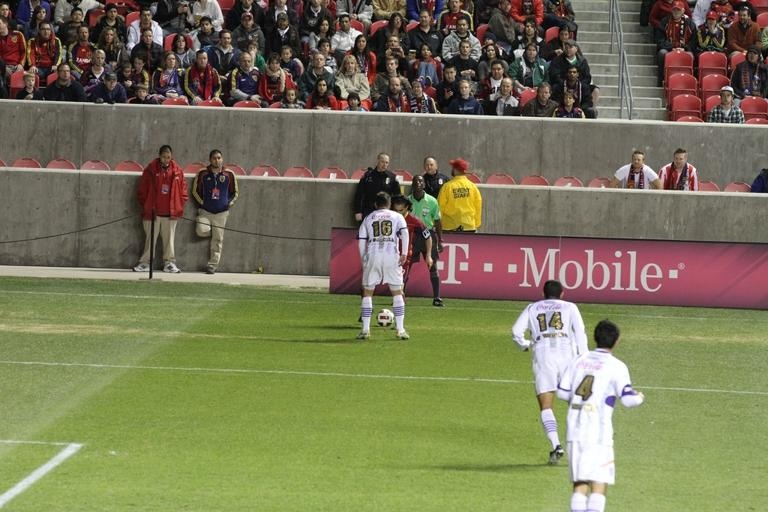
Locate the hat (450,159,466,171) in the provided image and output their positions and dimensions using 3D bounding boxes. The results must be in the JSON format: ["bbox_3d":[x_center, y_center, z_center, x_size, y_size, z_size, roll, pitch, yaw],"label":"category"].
[{"bbox_3d":[1.683,-2.012,39.444,0.321,0.288,0.585,0,3,5],"label":"hat"}]

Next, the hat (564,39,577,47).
[{"bbox_3d":[4.615,-5.300,43.740,0.287,0.135,0.406,0,-4,14],"label":"hat"}]

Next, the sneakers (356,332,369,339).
[{"bbox_3d":[-0.449,1.651,35.405,0.220,0.145,0.110,4,9,29],"label":"sneakers"}]

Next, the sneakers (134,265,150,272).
[{"bbox_3d":[-5.707,0.325,41.064,0.341,0.168,0.161,2,0,3],"label":"sneakers"}]

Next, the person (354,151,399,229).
[{"bbox_3d":[-0.179,-1.539,40.401,0.761,1.873,0.900,2,-8,-7],"label":"person"}]

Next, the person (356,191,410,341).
[{"bbox_3d":[-0.037,0.252,35.205,1.003,2.995,0.663,0,3,-1],"label":"person"}]

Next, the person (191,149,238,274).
[{"bbox_3d":[-4.022,-1.006,41.162,1.016,2.887,0.749,3,4,-6],"label":"person"}]

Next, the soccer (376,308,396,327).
[{"bbox_3d":[0.003,1.279,35.305,0.341,0.369,0.354,1,3,4],"label":"soccer"}]

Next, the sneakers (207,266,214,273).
[{"bbox_3d":[-4.113,0.360,41.268,0.131,0.104,0.134,4,-4,-34],"label":"sneakers"}]

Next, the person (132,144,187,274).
[{"bbox_3d":[-5.230,-1.046,41.023,1.174,3.044,0.687,1,4,-7],"label":"person"}]
